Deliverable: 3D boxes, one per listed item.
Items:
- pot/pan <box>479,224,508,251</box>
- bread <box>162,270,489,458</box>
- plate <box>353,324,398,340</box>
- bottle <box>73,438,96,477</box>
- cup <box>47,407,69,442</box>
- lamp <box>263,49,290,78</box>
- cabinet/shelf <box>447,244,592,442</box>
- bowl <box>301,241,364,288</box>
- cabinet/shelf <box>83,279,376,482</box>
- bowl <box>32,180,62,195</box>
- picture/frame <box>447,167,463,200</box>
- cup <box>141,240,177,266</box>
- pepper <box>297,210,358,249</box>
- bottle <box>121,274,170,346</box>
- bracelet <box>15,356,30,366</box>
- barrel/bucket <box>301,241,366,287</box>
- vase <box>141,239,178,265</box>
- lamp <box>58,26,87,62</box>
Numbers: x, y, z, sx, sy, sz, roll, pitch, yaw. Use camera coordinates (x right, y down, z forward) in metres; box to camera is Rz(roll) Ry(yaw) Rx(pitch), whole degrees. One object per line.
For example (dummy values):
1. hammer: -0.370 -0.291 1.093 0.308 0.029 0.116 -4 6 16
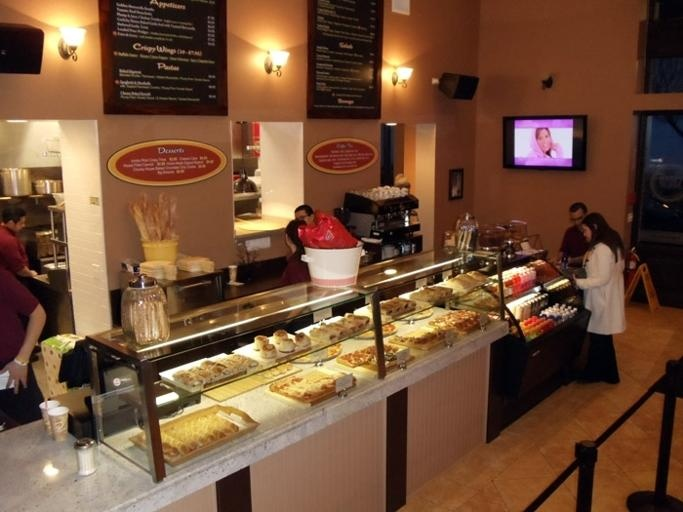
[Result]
1. pot/pan: 1.442 -0.182 4.934 0.243 0.169 0.243 1 6 13
2. bread: -0.015 0.688 3.248 0.839 0.316 1.391 18 26 40
3. plate: 0.212 0.498 3.382 0.186 0.013 0.188 0 6 29
4. bottle: -1.208 0.918 2.437 0.082 0.178 0.144 -8 15 -26
5. cup: -1.416 0.847 2.602 0.083 0.170 0.064 -10 16 -34
6. lamp: -0.724 -2.096 5.642 0.296 0.336 0.236 11 16 36
7. cabinet/shelf: 1.531 0.785 4.520 0.744 1.328 1.406 10 19 43
8. bowl: -0.041 0.051 3.533 0.460 0.261 0.418 -9 11 -28
9. cabinet/shelf: -0.537 0.581 3.331 0.490 0.514 2.200 9 9 26
10. bowl: -4.015 -0.937 7.096 0.308 0.113 0.271 3 4 19
11. picture/frame: 1.797 -1.172 8.237 0.041 0.516 0.502 5 9 34
12. cup: -1.652 -0.032 4.709 0.242 0.179 0.245 0 2 0
13. pepper: -0.081 -0.170 3.353 0.388 0.236 0.153 -1 13 0
14. bottle: -0.966 0.255 2.540 0.228 0.318 0.237 -1 13 0
15. bracelet: -2.151 0.714 3.472 0.078 0.076 0.058 -10 16 -33
16. barrel/bucket: -0.040 0.071 3.367 0.329 0.187 0.299 -5 8 -28
17. vase: -1.656 -0.038 4.709 0.242 0.180 0.246 0 3 -6
18. lamp: -2.234 -1.764 4.315 0.234 0.246 0.224 -10 16 -33
